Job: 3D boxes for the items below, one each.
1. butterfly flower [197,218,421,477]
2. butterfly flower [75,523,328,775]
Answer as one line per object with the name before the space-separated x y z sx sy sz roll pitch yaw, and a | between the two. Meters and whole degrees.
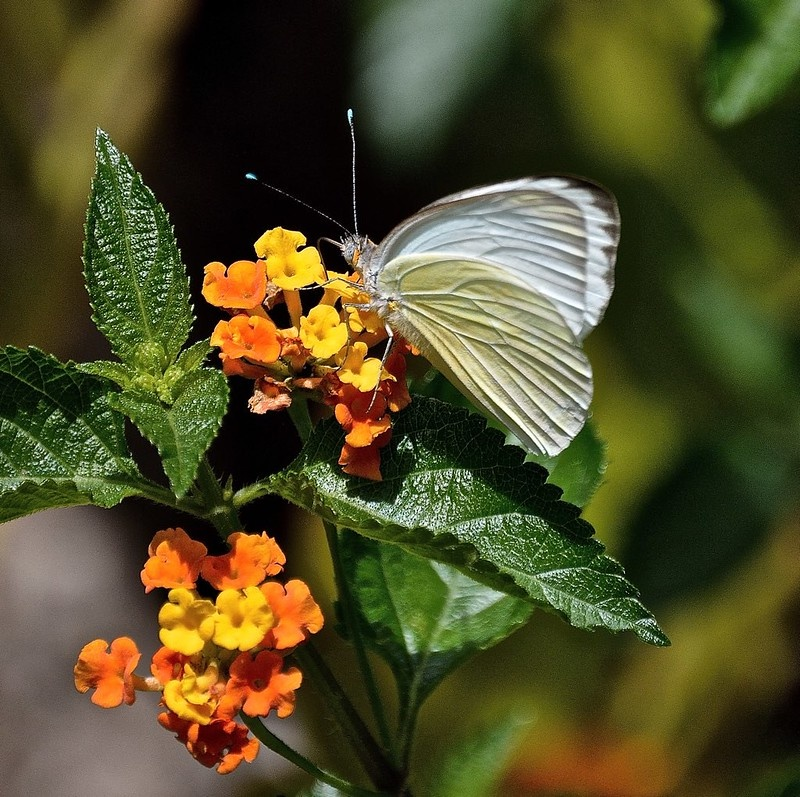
butterfly flower | -0.212 -0.088 1.983 0.501 0.197 0.465 10 55 -33
butterfly flower | -0.359 0.440 1.837 0.407 0.371 0.314 24 40 16
